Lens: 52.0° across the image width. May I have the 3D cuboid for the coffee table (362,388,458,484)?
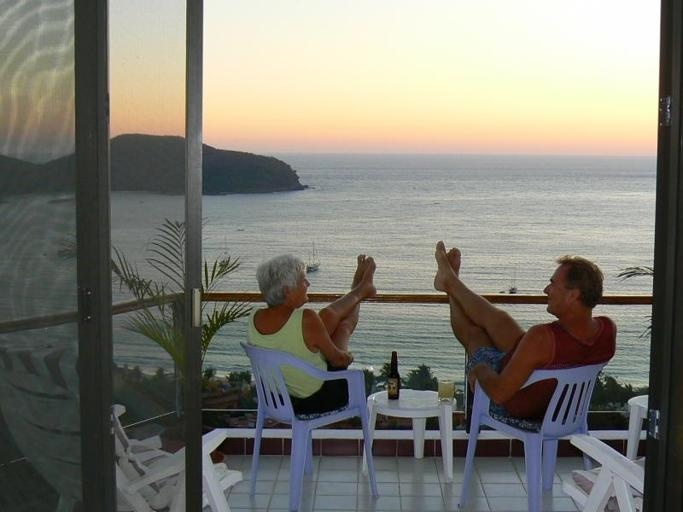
[{"bbox_3d":[0.439,1.046,4.095,0.532,0.441,0.587,0,2,22],"label":"coffee table"}]

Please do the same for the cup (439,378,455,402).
[{"bbox_3d":[0.612,0.784,4.086,0.096,0.110,0.100,2,11,0],"label":"cup"}]

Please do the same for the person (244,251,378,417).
[{"bbox_3d":[-0.107,0.365,3.841,0.434,0.818,0.826,4,10,30],"label":"person"}]

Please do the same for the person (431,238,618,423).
[{"bbox_3d":[0.870,0.366,3.617,0.601,0.804,0.958,-4,9,-19],"label":"person"}]
